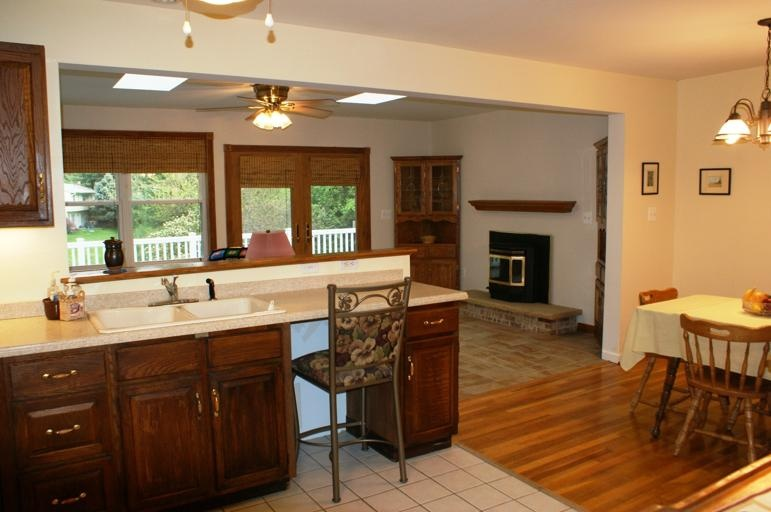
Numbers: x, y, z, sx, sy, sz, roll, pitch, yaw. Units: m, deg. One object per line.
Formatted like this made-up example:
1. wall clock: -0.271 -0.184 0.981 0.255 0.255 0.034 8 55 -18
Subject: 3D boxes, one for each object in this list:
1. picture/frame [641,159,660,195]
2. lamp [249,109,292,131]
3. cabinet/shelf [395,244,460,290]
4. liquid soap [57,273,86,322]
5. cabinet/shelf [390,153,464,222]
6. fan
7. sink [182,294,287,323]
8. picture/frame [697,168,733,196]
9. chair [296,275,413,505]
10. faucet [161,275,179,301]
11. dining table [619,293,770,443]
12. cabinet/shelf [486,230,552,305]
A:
1. picture/frame: 2.876 -0.832 6.085 0.290 0.339 0.016 -6 8 -32
2. lamp: -1.069 -1.269 5.271 0.303 0.152 0.268 -5 12 -18
3. cabinet/shelf: 0.592 0.139 7.378 0.822 0.643 0.291 1 5 6
4. liquid soap: -2.055 0.291 3.673 0.137 0.238 0.201 11 8 24
5. cabinet/shelf: 0.695 -1.055 8.802 1.273 1.017 0.319 1 2 12
6. fan: -1.058 -1.439 5.236 1.191 0.201 1.213 -2 13 -38
7. sink: -1.127 0.371 4.005 0.358 0.110 0.291 -1 4 -37
8. picture/frame: 3.551 -0.792 6.012 0.024 0.299 0.336 -10 13 -43
9. chair: -0.231 0.856 3.978 0.875 1.448 0.803 -3 13 -5
10. faucet: -1.524 0.234 3.977 0.107 0.177 0.088 -5 13 -14
11. dining table: 2.584 0.810 4.724 1.131 0.776 1.145 13 22 43
12. cabinet/shelf: 1.871 0.187 7.707 0.525 0.894 1.071 -4 7 -38
